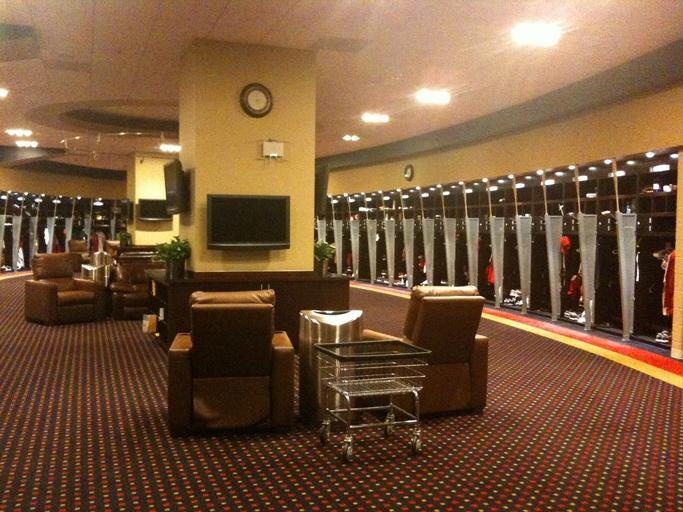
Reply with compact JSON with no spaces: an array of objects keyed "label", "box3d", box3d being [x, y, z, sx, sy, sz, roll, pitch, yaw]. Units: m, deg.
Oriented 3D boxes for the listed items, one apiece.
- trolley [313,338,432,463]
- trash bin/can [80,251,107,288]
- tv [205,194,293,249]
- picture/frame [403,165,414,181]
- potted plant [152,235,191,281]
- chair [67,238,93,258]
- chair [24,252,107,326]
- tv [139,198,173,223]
[{"label":"trolley","box3d":[0.261,1.174,3.895,0.914,0.793,0.769,0,-3,1]},{"label":"trash bin/can","box3d":[-5.731,0.310,10.669,0.758,0.772,0.743,1,-4,-6]},{"label":"tv","box3d":[-1.320,-0.485,6.554,1.115,0.761,0.065,0,2,-15]},{"label":"picture/frame","box3d":[2.005,-2.472,13.605,0.098,0.394,0.403,0,15,-26]},{"label":"potted plant","box3d":[-2.369,0.019,6.628,0.617,0.607,0.512,-1,-3,-5]},{"label":"chair","box3d":[-10.554,-0.346,18.478,0.868,0.916,0.923,-1,3,-39]},{"label":"chair","box3d":[-5.545,0.530,9.071,1.353,1.479,1.495,-1,2,-40]},{"label":"tv","box3d":[-5.689,-1.421,13.967,1.224,0.833,0.345,0,0,-19]}]
